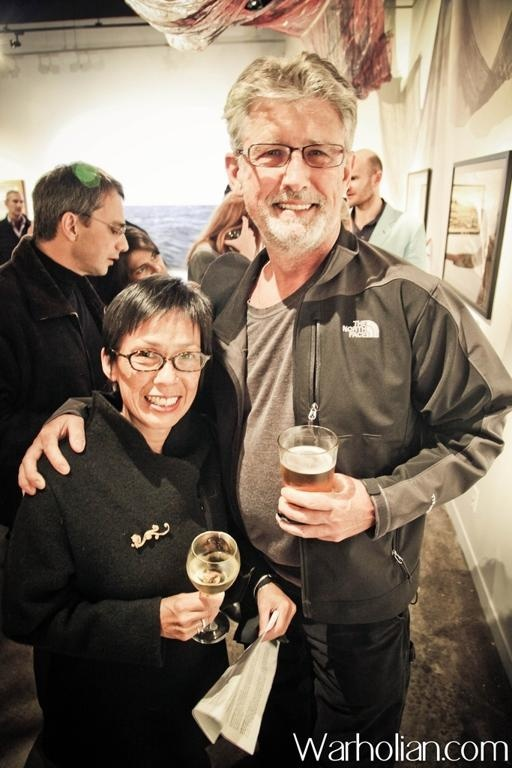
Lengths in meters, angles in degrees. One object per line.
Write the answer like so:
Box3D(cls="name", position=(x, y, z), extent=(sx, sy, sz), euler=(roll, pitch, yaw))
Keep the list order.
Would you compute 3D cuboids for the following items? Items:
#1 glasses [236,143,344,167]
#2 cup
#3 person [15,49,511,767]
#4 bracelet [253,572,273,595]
Box3D(cls="glasses", position=(0.103, -0.599, 1.521), extent=(0.255, 0.065, 0.054), euler=(1, 22, 4))
Box3D(cls="cup", position=(0.111, 0.160, 1.362), extent=(0.142, 0.162, 0.146), euler=(0, 11, 0))
Box3D(cls="person", position=(0.148, 0.213, 1.783), extent=(0.592, 2.198, 0.975), euler=(-14, 25, -28))
Box3D(cls="bracelet", position=(0.020, 0.616, 1.794), extent=(0.013, 0.049, 0.049), euler=(34, 47, 4))
